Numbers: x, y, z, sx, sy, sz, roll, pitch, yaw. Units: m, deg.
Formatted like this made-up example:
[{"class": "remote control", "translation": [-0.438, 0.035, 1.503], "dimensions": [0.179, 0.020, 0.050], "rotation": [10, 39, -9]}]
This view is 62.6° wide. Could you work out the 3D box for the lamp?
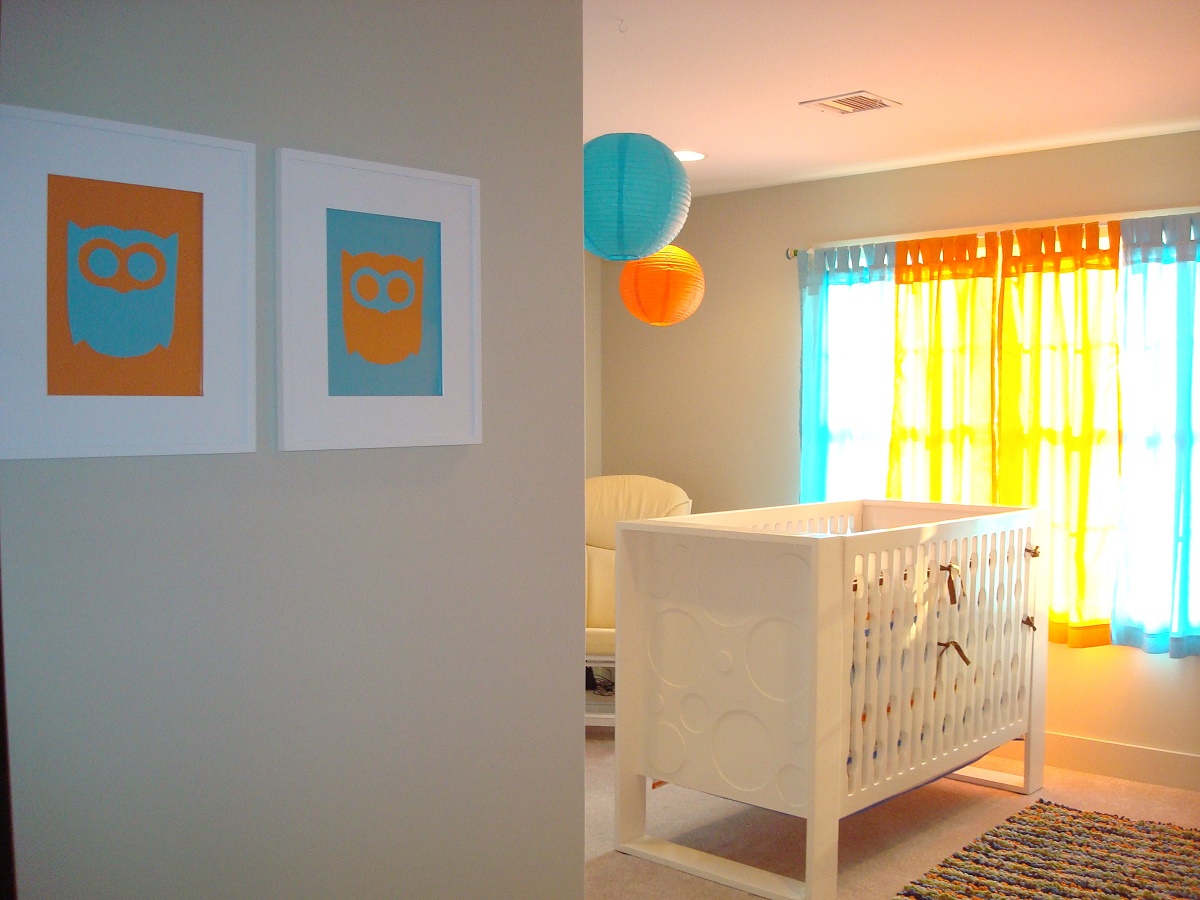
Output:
[{"class": "lamp", "translation": [0.139, -0.719, 3.069], "dimensions": [0.303, 0.771, 0.322], "rotation": [-4, 12, 4]}]
